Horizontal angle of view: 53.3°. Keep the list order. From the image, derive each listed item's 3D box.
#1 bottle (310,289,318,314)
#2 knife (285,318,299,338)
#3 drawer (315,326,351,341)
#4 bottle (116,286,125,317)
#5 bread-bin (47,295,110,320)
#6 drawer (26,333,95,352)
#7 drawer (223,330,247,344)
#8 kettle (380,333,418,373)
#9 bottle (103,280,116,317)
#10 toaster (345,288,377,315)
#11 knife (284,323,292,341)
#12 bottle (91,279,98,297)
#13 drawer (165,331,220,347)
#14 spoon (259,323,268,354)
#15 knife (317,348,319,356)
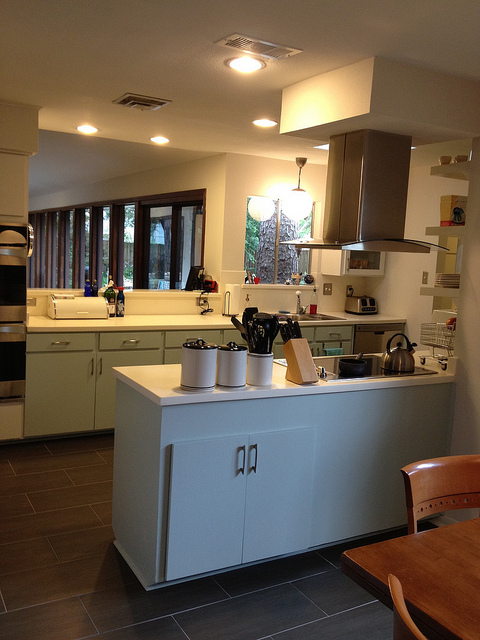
[{"bbox_3d":[0.804,-0.204,5.150,0.087,0.263,0.275,3,3,9],"label":"bottle"},{"bbox_3d":[0.255,0.041,2.305,0.029,0.125,0.031,-9,-18,-8],"label":"knife"},{"bbox_3d":[0.915,0.127,4.656,0.425,0.148,0.032,2,3,-28],"label":"drawer"},{"bbox_3d":[-1.077,-0.163,4.304,0.071,0.251,0.051,1,3,-22],"label":"bottle"},{"bbox_3d":[-1.333,-0.099,3.956,0.454,0.183,0.196,2,3,-25],"label":"bread-bin"},{"bbox_3d":[-1.316,0.161,3.518,0.475,0.142,0.026,2,3,-30],"label":"drawer"},{"bbox_3d":[-0.055,0.142,4.224,0.190,0.145,0.105,-4,8,-35],"label":"drawer"},{"bbox_3d":[0.879,0.174,2.638,0.187,0.209,0.297,4,3,18],"label":"kettle"},{"bbox_3d":[-1.163,-0.196,4.269,0.111,0.326,0.265,2,3,-18],"label":"bottle"},{"bbox_3d":[1.345,-0.194,5.335,0.186,0.187,0.258,1,2,-20],"label":"toaster"},{"bbox_3d":[0.234,0.054,2.287,0.025,0.069,0.067,2,3,-19],"label":"knife"},{"bbox_3d":[-1.310,-0.284,4.302,0.056,0.135,0.145,2,3,-18],"label":"bottle"},{"bbox_3d":[-0.392,0.156,4.023,0.476,0.141,0.140,3,3,-14],"label":"drawer"},{"bbox_3d":[0.106,0.076,2.085,0.038,0.127,0.039,3,3,3],"label":"spoon"},{"bbox_3d":[0.758,0.297,4.619,0.022,0.068,0.015,-8,15,-34],"label":"knife"}]
